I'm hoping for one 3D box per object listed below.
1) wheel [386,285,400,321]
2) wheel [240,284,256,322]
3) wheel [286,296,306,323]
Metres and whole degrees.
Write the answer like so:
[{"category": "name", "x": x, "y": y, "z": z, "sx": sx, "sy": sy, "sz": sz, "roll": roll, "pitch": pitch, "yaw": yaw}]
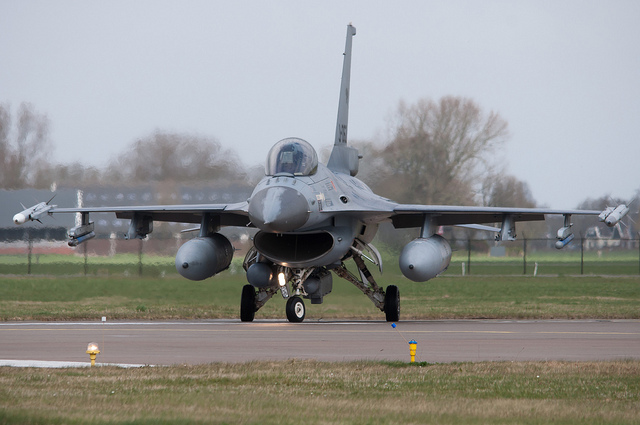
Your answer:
[{"category": "wheel", "x": 1.894, "y": 2.382, "z": 27.485, "sx": 0.331, "sy": 0.825, "sz": 0.840, "roll": -1, "pitch": -5, "yaw": 4}, {"category": "wheel", "x": -1.845, "y": 2.325, "z": 27.046, "sx": 0.389, "sy": 0.931, "sz": 0.380, "roll": 2, "pitch": -2, "yaw": 0}, {"category": "wheel", "x": -0.628, "y": 2.442, "z": 26.721, "sx": 0.457, "sy": 0.639, "sz": 0.549, "roll": 2, "pitch": -2, "yaw": 0}]
